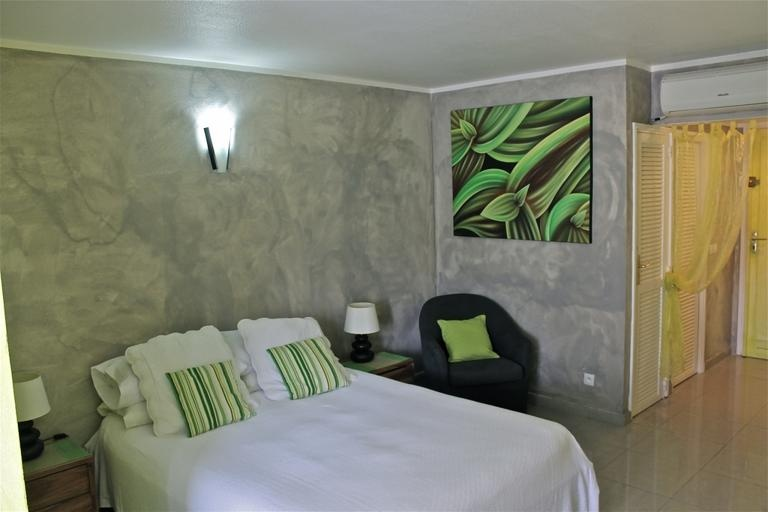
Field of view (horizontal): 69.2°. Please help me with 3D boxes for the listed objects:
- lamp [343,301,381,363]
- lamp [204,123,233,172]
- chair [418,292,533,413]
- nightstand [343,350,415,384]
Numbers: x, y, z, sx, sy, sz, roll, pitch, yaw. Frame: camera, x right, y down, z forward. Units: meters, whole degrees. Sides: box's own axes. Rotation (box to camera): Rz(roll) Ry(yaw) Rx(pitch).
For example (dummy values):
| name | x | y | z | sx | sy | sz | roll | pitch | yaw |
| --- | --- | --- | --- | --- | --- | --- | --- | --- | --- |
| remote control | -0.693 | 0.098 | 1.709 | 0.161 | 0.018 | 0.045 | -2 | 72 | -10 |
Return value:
| name | x | y | z | sx | sy | sz | roll | pitch | yaw |
| --- | --- | --- | --- | --- | --- | --- | --- | --- | --- |
| lamp | -0.219 | 0.763 | 5.432 | 0.387 | 0.524 | 0.367 | 0 | -2 | -4 |
| lamp | -1.355 | -0.893 | 4.692 | 0.264 | 0.367 | 0.125 | -9 | 17 | -31 |
| chair | 0.887 | 0.992 | 5.550 | 1.092 | 0.962 | 0.996 | -4 | 9 | -22 |
| nightstand | 0.005 | 0.997 | 5.370 | 0.321 | 0.285 | 0.480 | 2 | 5 | 42 |
